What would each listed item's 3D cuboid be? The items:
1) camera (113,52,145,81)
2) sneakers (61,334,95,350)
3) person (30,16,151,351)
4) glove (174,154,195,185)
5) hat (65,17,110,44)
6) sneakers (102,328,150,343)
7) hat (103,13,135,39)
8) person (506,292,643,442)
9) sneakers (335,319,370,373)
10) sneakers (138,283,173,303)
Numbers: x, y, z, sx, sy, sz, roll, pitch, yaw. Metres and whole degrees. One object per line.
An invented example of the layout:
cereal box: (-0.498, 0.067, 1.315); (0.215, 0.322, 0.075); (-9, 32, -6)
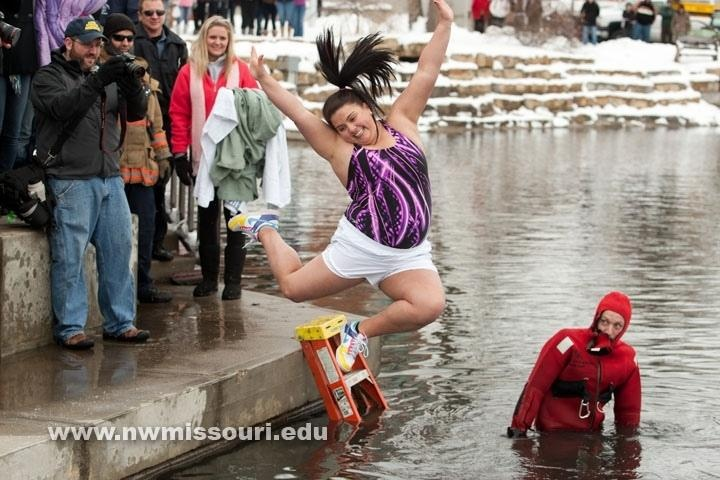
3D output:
camera: (-1.801, -1.419, 9.533); (0.134, 0.192, 0.224); (-27, 51, -32)
sneakers: (-2.234, 0.826, 9.685); (0.298, 0.103, 0.107); (-1, 3, 15)
person: (-2.120, -0.459, 9.641); (0.857, 2.587, 0.728); (-5, 17, -18)
glove: (-1.611, -0.639, 11.068); (0.103, 0.244, 0.199); (-12, 9, -14)
hat: (-2.137, -1.652, 9.521); (0.280, 0.127, 0.189); (0, 13, 21)
sneakers: (-1.886, 0.783, 9.887); (0.376, 0.132, 0.130); (-2, 4, 12)
hat: (-1.964, -1.769, 9.959); (0.280, 0.185, 0.195); (5, 6, -3)
person: (1.691, 1.063, 9.670); (0.887, 1.011, 0.561); (22, 8, -19)
sneakers: (-0.065, 0.804, 9.579); (0.221, 0.460, 0.172); (-15, -29, 24)
sneakers: (-1.814, 0.493, 10.916); (0.404, 0.140, 0.124); (3, 9, -5)
